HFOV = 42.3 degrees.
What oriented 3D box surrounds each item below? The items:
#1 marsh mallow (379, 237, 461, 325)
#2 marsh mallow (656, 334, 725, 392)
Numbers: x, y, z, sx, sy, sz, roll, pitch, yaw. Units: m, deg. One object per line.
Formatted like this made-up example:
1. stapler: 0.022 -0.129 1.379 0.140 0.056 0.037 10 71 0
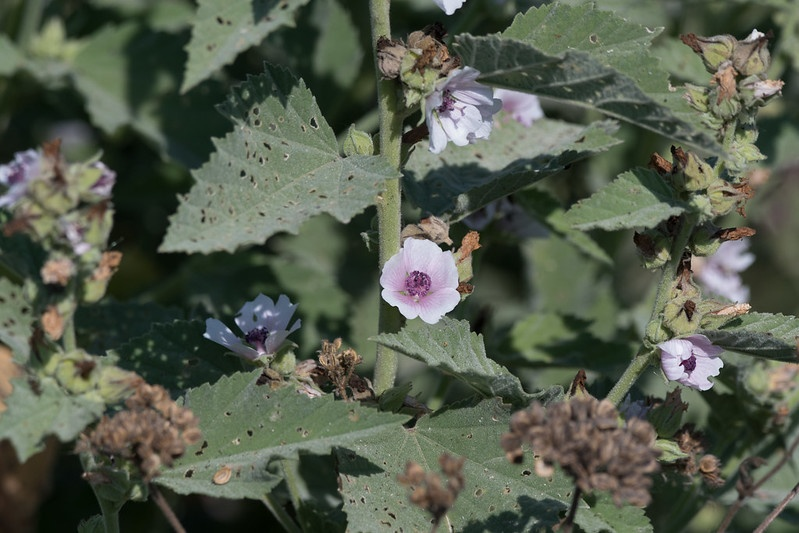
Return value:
1. marsh mallow: 0.042 0.041 2.324 0.177 0.070 0.162 34 47 29
2. marsh mallow: 0.645 0.205 2.331 0.129 0.065 0.128 -40 -68 12
